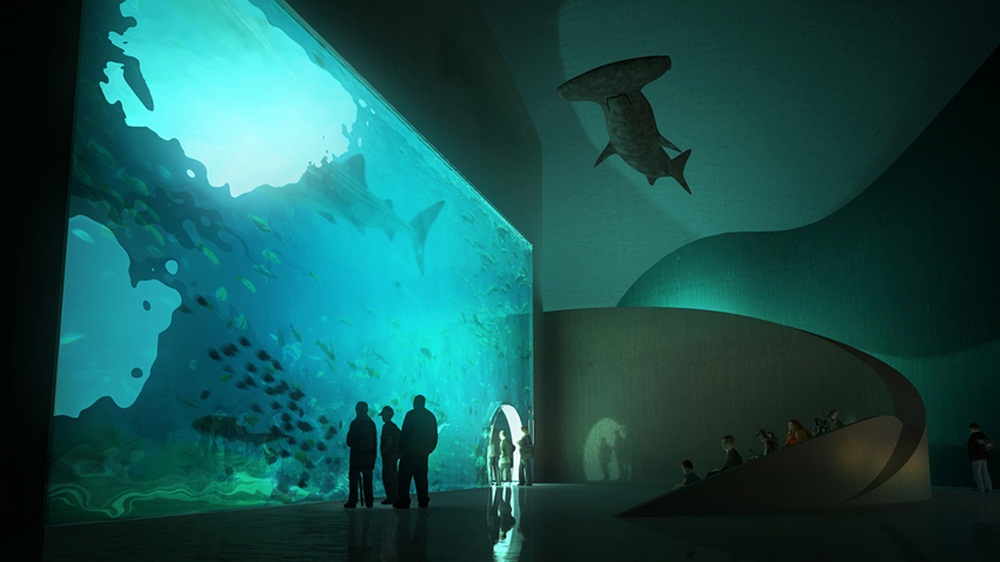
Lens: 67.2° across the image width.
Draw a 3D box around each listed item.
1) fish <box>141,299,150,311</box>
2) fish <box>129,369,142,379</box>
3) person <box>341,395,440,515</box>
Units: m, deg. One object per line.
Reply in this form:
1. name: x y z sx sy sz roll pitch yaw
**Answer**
1. fish: -5.054 0.339 10.698 0.029 0.116 0.120 -4 7 20
2. fish: -5.141 1.293 10.589 0.042 0.162 0.165 -18 -27 40
3. person: -1.400 2.732 12.464 0.978 2.379 0.735 -1 -7 9
